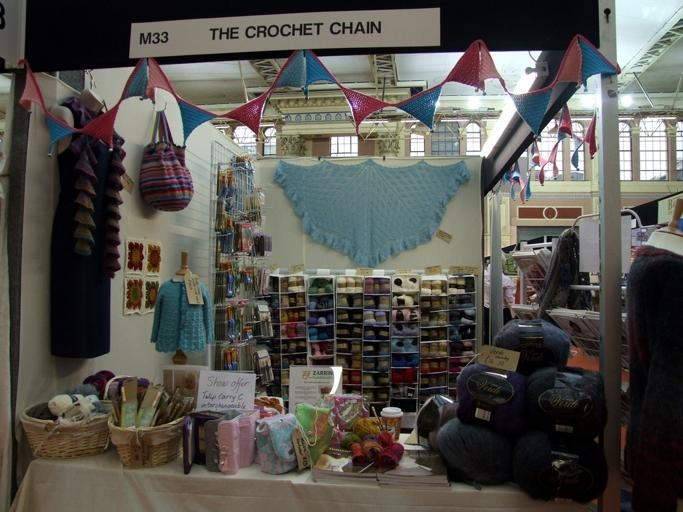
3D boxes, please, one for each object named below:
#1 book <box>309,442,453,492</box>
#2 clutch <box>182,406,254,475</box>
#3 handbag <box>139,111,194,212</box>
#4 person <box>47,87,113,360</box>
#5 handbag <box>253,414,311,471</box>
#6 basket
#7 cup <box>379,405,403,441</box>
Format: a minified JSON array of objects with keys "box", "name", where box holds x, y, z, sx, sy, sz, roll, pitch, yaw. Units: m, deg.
[{"box":[0.202,1.124,2.980,0.708,0.116,0.162,1,-4,4],"name":"book"},{"box":[-0.677,0.977,3.097,0.300,0.256,0.321,1,0,16],"name":"clutch"},{"box":[-1.365,-0.631,4.433,0.403,0.529,0.239,2,-4,-11],"name":"handbag"},{"box":[-1.649,-0.059,3.648,0.380,1.414,0.245,3,-4,-30],"name":"person"},{"box":[-0.314,1.026,3.084,0.225,0.260,0.277,-7,-5,38],"name":"handbag"},{"box":[-1.301,1.005,3.180,0.526,0.184,0.419,2,-6,7],"name":"basket"},{"box":[0.296,0.991,3.319,0.155,0.182,0.162,1,-21,0],"name":"cup"}]
